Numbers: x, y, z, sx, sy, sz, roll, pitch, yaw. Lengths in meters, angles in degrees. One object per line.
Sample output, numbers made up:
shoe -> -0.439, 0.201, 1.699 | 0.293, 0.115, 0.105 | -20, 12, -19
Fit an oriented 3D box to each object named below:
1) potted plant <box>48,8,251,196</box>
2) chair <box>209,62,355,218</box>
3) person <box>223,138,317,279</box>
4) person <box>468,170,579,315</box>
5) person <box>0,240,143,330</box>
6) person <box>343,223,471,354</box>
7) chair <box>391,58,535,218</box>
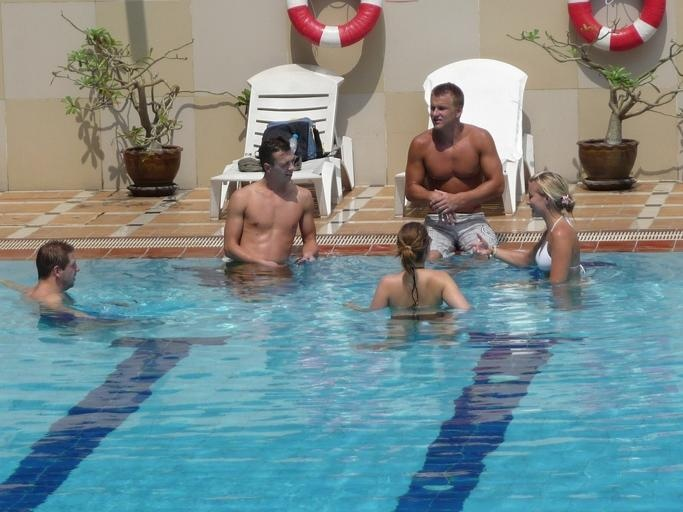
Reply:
potted plant -> -2.892, -1.844, 8.798 | 2.670, 1.995, 2.127 | 2, 2, 40
chair -> -0.623, -1.505, 7.786 | 1.657, 1.404, 2.168 | 3, 30, 11
person -> -0.603, -0.444, 5.253 | 0.755, 1.025, 0.314 | -3, 14, -5
person -> 1.559, -0.170, 4.787 | 0.435, 0.932, 0.887 | -6, 13, -14
person -> -2.068, 0.153, 4.724 | 0.501, 0.561, 1.173 | -12, 16, -38
person -> 0.465, 0.168, 4.101 | 0.718, 0.762, 0.498 | 0, 14, 9
chair -> 1.526, -1.332, 7.496 | 1.705, 1.325, 2.073 | 2, 37, 11
